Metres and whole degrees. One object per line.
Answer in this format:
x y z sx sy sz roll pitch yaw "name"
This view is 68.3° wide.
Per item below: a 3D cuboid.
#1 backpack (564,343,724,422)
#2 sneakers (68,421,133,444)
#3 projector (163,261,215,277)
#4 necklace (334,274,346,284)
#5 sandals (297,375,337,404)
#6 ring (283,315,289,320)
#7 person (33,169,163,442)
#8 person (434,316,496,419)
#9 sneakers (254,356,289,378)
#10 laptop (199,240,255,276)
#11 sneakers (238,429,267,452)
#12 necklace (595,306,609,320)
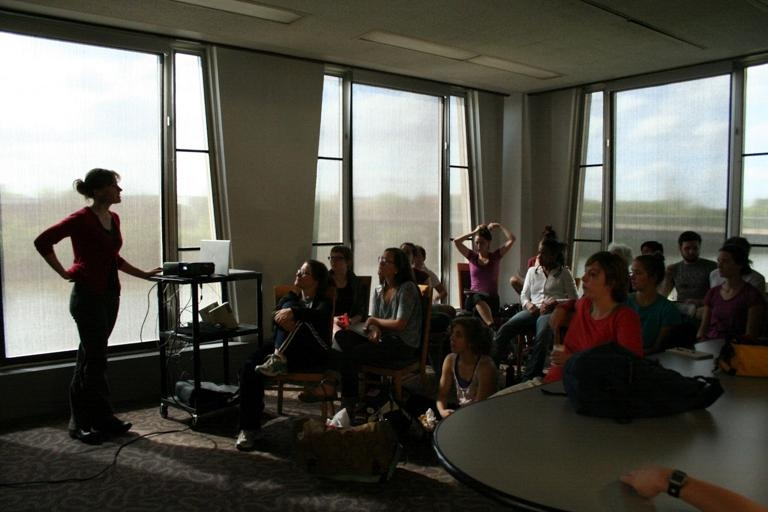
1.465 0.711 3.198 0.675 0.283 0.431 -3 -7 9 "backpack"
-2.560 1.568 5.160 0.186 0.222 0.532 1 1 39 "sneakers"
-1.851 0.115 5.346 0.471 0.141 0.334 -4 12 -18 "projector"
-0.483 0.239 6.080 0.082 0.110 0.034 0 11 -4 "necklace"
-0.577 1.183 5.034 0.378 0.241 0.186 2 -5 -5 "sandals"
-0.888 0.553 5.102 0.043 0.040 0.010 9 -3 4 "ring"
-2.614 0.430 5.081 0.717 2.372 0.578 -11 15 -42 "person"
0.698 0.921 4.608 0.516 0.817 0.573 0 -8 32 "person"
-0.984 0.981 5.036 0.318 0.152 0.132 9 -11 -44 "sneakers"
-1.595 -0.001 5.653 0.474 0.315 0.330 0 -2 36 "laptop"
-1.168 1.625 4.970 0.118 0.136 0.320 -2 -17 4 "sneakers"
1.470 0.383 3.817 0.070 0.072 0.073 0 4 25 "necklace"
